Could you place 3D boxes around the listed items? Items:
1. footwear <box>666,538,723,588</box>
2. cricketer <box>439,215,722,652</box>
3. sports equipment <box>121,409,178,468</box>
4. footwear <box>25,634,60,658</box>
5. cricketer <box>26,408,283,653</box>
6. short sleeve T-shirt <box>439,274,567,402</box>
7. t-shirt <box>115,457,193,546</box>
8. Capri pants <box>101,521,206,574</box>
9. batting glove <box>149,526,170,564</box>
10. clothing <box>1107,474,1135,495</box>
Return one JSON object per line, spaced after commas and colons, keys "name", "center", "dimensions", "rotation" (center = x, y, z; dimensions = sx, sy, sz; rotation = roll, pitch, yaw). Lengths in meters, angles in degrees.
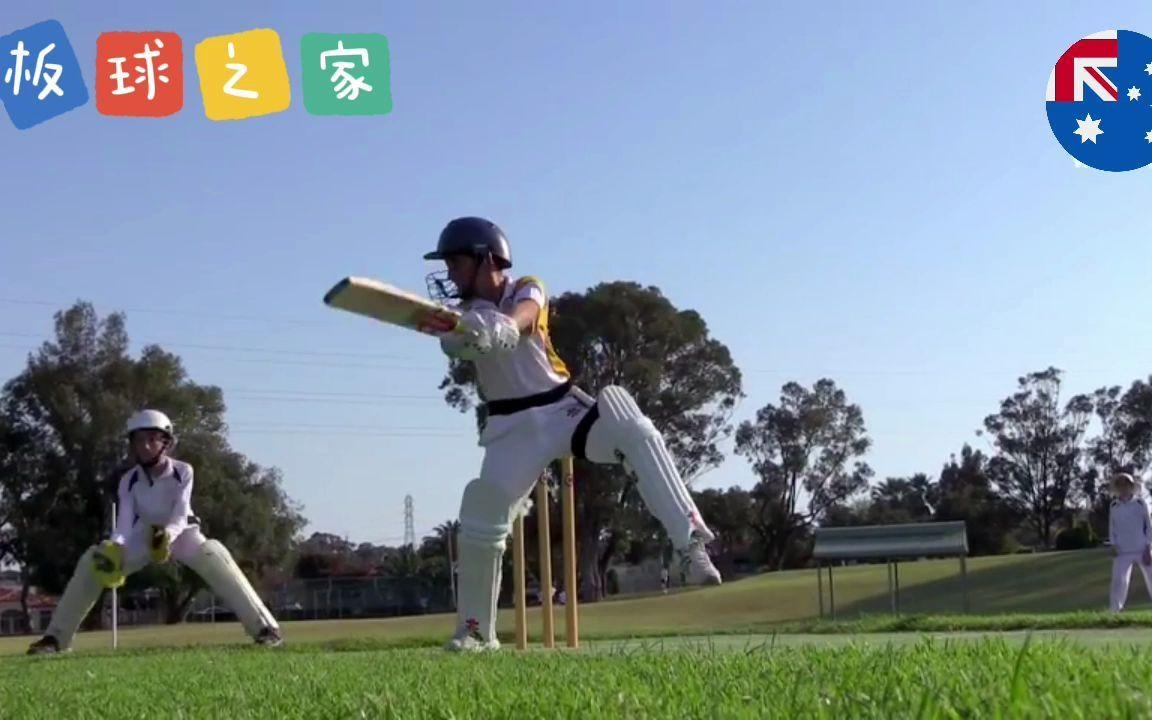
{"name": "footwear", "center": [0.966, 1.617, 8.098], "dimensions": [0.398, 0.240, 0.156], "rotation": [22, 46, 32]}
{"name": "cricketer", "center": [-0.348, 0.392, 8.670], "dimensions": [2.497, 3.931, 1.665], "rotation": [-13, -24, 17]}
{"name": "sports equipment", "center": [-5.178, 0.837, 12.121], "dimensions": [0.383, 0.563, 0.501], "rotation": [0, -18, -18]}
{"name": "footwear", "center": [-6.668, 3.596, 12.329], "dimensions": [0.447, 0.164, 0.362], "rotation": [-10, 4, 9]}
{"name": "cricketer", "center": [-5.004, 2.070, 11.804], "dimensions": [2.829, 2.905, 1.733], "rotation": [-1, -5, -8]}
{"name": "short sleeve T-shirt", "center": [-0.606, -0.263, 8.835], "dimensions": [0.755, 1.141, 0.957], "rotation": [-20, 28, -27]}
{"name": "t-shirt", "center": [-5.037, 1.716, 11.715], "dimensions": [0.827, 1.117, 1.085], "rotation": [4, -12, -22]}
{"name": "Capri pants", "center": [-5.007, 2.217, 11.586], "dimensions": [0.958, 0.427, 0.630], "rotation": [-10, -2, -29]}
{"name": "batting glove", "center": [-4.834, 2.165, 11.546], "dimensions": [0.299, 0.425, 0.118], "rotation": [2, 0, 28]}
{"name": "clothing", "center": [7.849, 1.785, 14.098], "dimensions": [0.327, 0.325, 0.319], "rotation": [-7, -12, 33]}
